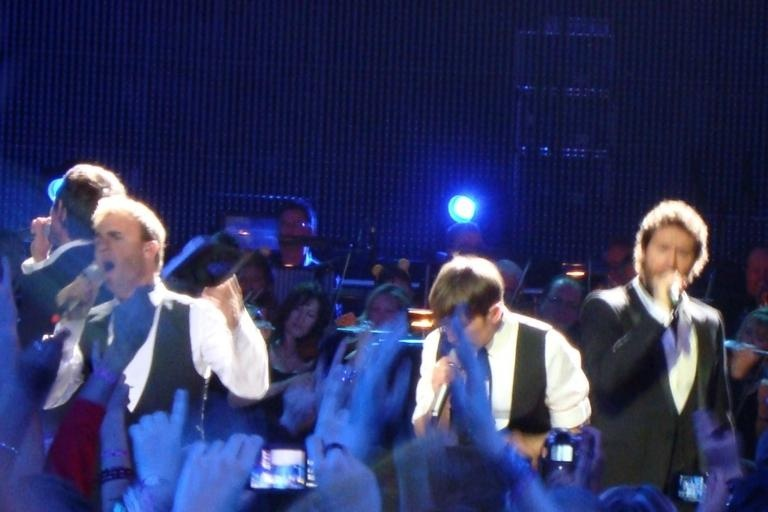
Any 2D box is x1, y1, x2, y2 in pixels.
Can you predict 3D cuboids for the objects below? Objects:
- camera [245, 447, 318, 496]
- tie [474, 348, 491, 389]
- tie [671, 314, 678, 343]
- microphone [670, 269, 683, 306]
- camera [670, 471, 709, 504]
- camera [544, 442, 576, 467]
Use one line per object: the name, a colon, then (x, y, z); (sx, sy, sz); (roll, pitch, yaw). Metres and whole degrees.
camera: (-0.414, 0.884, 3.623); (0.277, 0.183, 0.054); (2, -5, 1)
tie: (0.507, 0.539, 4.314); (0.038, 0.168, 0.153); (-10, 13, 2)
tie: (1.482, 0.360, 4.409); (0.057, 0.133, 0.011); (5, -5, -24)
microphone: (1.487, 0.170, 4.407); (0.036, 0.145, 0.107); (8, -7, 15)
camera: (1.357, 1.022, 3.847); (0.185, 0.134, 0.103); (3, -14, -3)
camera: (0.754, 0.832, 3.703); (0.119, 0.077, 0.030); (2, -5, 2)
